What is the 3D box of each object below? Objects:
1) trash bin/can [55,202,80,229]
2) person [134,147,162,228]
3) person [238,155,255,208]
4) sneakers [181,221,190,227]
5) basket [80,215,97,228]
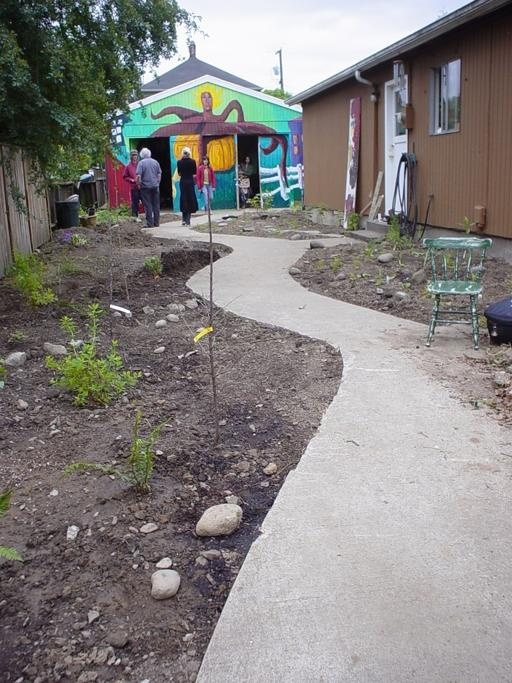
[{"bbox_3d":[-4.305,-2.900,11.919,0.580,0.610,0.617,11,21,24],"label":"trash bin/can"},{"bbox_3d":[-2.888,-4.133,13.913,0.625,2.114,1.352,-6,15,-10],"label":"person"},{"bbox_3d":[-0.455,-6.935,22.627,0.651,2.104,1.353,-3,15,2],"label":"person"},{"bbox_3d":[-2.060,-3.359,14.894,0.184,0.235,0.552,2,9,4],"label":"sneakers"},{"bbox_3d":[-4.111,-2.898,12.648,0.354,0.269,0.364,2,9,15],"label":"basket"}]
